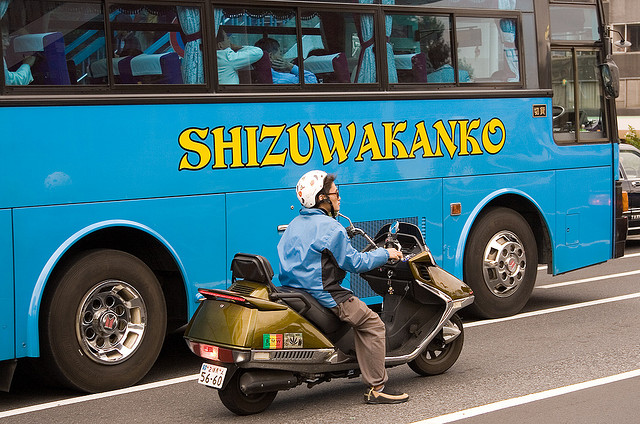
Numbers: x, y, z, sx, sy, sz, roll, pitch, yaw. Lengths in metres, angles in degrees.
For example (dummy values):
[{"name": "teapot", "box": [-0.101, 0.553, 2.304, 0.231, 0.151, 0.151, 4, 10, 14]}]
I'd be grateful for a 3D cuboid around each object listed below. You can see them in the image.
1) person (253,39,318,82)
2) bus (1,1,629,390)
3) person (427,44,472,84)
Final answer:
[{"name": "person", "box": [-0.448, -1.907, 6.476, 0.724, 0.449, 0.360, -3, -5, -16]}, {"name": "bus", "box": [0.775, -0.886, 9.536, 11.105, 5.423, 3.398, -5, 4, -30]}, {"name": "person", "box": [2.012, -2.242, 7.727, 0.745, 0.474, 0.385, -23, 18, -40]}]
